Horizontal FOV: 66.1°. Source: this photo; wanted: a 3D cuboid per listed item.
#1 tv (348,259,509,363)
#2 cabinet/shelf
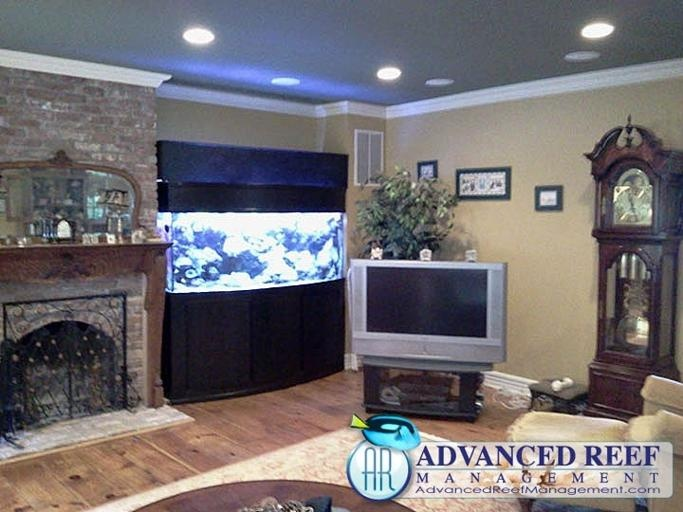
[{"bbox_3d":[0.788,0.498,4.610,1.008,0.619,0.124,1,5,14],"label":"tv"},{"bbox_3d":[-0.846,0.827,5.186,1.885,1.078,1.076,-3,3,-37],"label":"cabinet/shelf"}]
